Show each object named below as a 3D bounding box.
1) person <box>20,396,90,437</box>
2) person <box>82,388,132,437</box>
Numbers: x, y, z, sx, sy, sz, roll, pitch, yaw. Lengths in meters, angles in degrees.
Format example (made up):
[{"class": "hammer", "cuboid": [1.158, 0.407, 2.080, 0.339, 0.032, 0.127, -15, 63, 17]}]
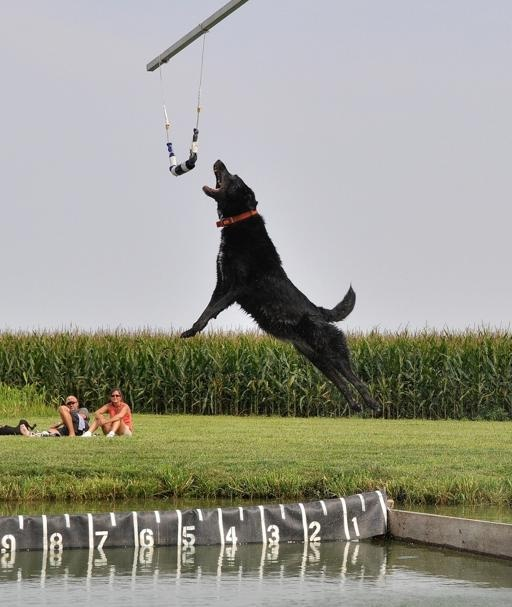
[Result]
[{"class": "person", "cuboid": [-2.758, 1.570, 19.198, 1.004, 0.619, 1.091, 5, -7, -28]}, {"class": "person", "cuboid": [-2.066, 1.550, 19.253, 0.619, 0.665, 0.979, 1, -7, 5]}]
